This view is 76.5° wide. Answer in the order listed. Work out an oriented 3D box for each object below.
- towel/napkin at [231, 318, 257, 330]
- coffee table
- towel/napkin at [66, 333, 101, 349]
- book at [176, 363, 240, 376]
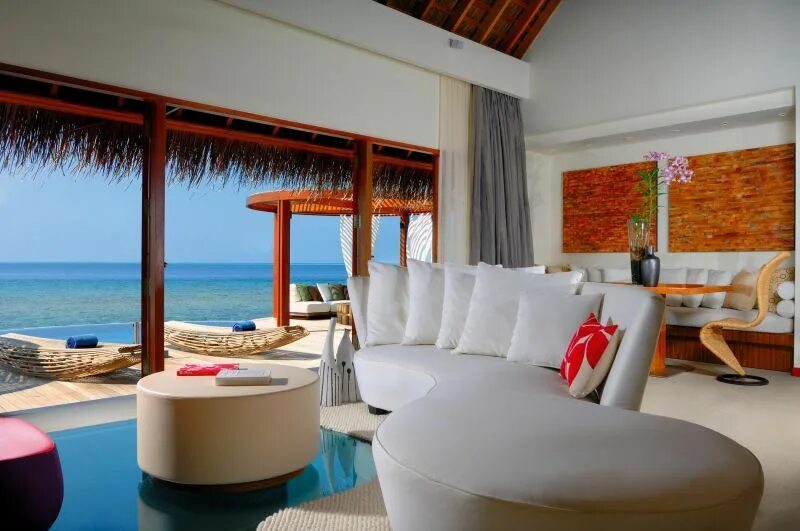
[{"bbox_3d":[-2.130,0.734,6.928,0.221,0.196,0.300,-1,-1,26],"label":"towel/napkin"},{"bbox_3d":[-1.080,0.970,3.244,1.030,0.580,1.031,1,2,-31],"label":"coffee table"},{"bbox_3d":[-3.523,0.839,5.617,0.297,0.111,0.144,1,5,1],"label":"towel/napkin"},{"bbox_3d":[-1.228,0.650,3.219,0.178,0.038,0.183,0,0,0],"label":"book"}]
